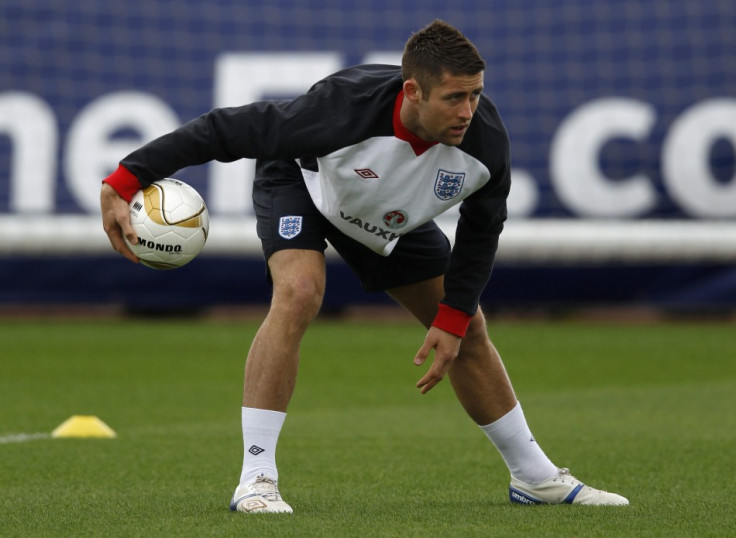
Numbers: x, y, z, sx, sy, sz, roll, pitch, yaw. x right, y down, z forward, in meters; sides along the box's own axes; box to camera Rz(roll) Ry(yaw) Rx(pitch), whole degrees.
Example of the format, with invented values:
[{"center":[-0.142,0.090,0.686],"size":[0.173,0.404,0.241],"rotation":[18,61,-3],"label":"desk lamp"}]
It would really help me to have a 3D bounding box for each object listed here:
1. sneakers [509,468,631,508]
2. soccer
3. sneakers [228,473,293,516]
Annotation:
[{"center":[1.117,1.235,5.550],"size":[0.677,0.218,0.223],"rotation":[0,-8,6],"label":"sneakers"},{"center":[-1.140,-0.245,5.620],"size":[0.463,0.509,0.458],"rotation":[5,33,-3],"label":"soccer"},{"center":[-0.573,1.234,5.277],"size":[0.168,0.124,0.318],"rotation":[5,-6,-35],"label":"sneakers"}]
